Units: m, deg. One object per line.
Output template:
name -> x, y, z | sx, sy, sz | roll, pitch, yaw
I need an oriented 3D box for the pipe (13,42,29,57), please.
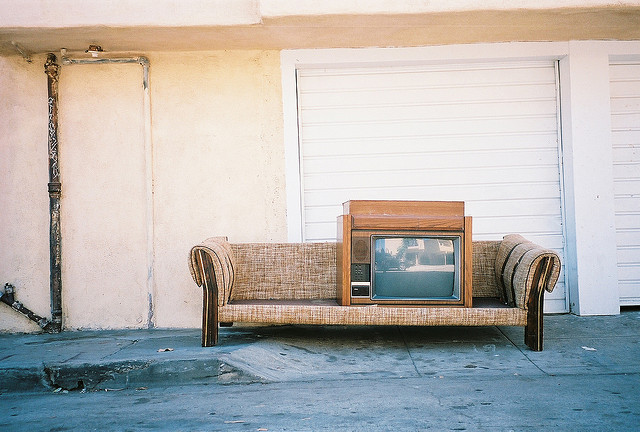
pipe -> -3.059, -1.707, 6.954 | 0.075, 0.055, 0.227 | 5, -6, 5

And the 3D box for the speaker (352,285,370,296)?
speaker -> 0.364, 0.674, 6.144 | 0.179, 0.096, 0.035 | 1, 0, 0

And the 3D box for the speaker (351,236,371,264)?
speaker -> 0.368, 0.313, 6.153 | 0.174, 0.236, 0.088 | -1, 16, 6

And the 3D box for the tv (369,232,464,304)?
tv -> 0.895, 0.465, 6.467 | 1.205, 0.699, 0.627 | 0, -3, 3

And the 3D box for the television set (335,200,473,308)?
television set -> 0.847, 0.381, 6.850 | 1.590, 0.985, 1.032 | 0, -3, 3
